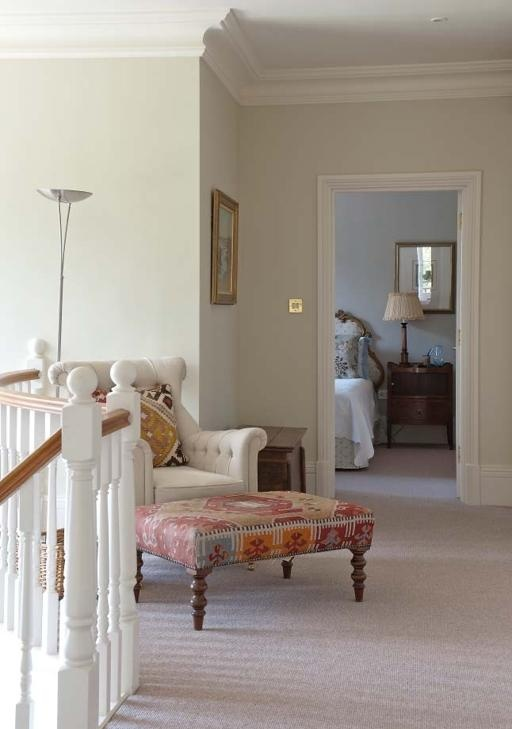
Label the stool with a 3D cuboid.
[{"bbox_3d":[-0.009,0.780,2.702,0.909,0.267,0.482,-1,0,-31],"label":"stool"}]

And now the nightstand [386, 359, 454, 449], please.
[{"bbox_3d":[1.774,0.410,7.119,0.734,0.863,0.580,0,1,4],"label":"nightstand"}]

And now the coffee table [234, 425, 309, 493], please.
[{"bbox_3d":[0.164,0.567,3.907,0.380,0.550,0.429,0,0,5],"label":"coffee table"}]

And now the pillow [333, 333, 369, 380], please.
[{"bbox_3d":[1.039,-0.081,7.112,0.457,0.457,0.182,5,-6,-25],"label":"pillow"}]

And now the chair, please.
[{"bbox_3d":[-0.536,0.431,3.204,0.907,0.921,0.875,4,1,34],"label":"chair"}]

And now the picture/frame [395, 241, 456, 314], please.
[{"bbox_3d":[1.903,-0.970,7.238,0.861,0.999,0.072,0,2,6],"label":"picture/frame"}]

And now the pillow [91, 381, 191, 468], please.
[{"bbox_3d":[-0.570,0.325,3.316,0.127,0.408,0.444,-18,-11,34],"label":"pillow"}]
